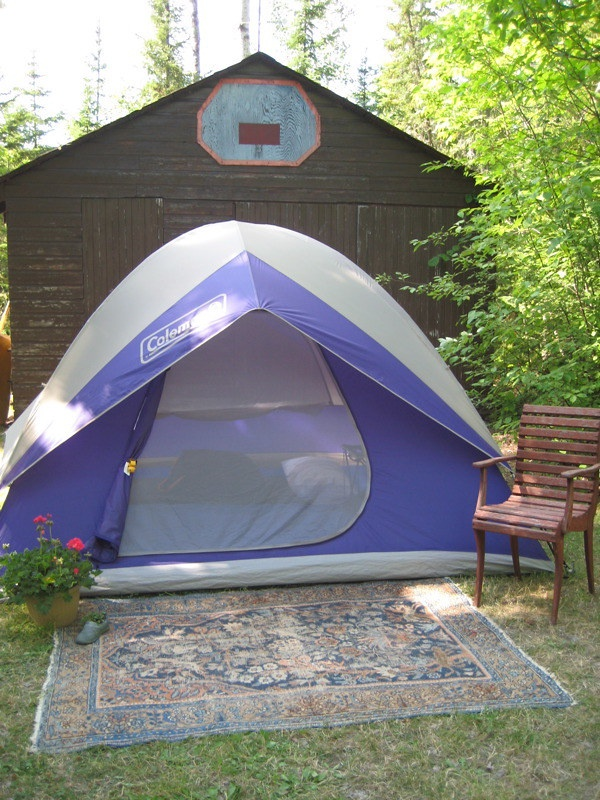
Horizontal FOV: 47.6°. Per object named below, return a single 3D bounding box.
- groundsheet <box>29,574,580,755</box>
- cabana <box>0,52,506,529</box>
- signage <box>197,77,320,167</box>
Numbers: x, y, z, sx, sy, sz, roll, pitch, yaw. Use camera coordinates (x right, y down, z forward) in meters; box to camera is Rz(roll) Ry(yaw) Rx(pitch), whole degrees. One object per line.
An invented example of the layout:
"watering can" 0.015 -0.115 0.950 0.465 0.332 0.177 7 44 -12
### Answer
"groundsheet" -0.065 1.067 2.943 2.013 0.034 1.227 -1 7 -9
"cabana" -0.945 -1.505 10.637 6.515 4.218 4.561 -1 6 -4
"signage" -0.510 -3.427 8.411 1.680 0.990 0.063 10 24 19
